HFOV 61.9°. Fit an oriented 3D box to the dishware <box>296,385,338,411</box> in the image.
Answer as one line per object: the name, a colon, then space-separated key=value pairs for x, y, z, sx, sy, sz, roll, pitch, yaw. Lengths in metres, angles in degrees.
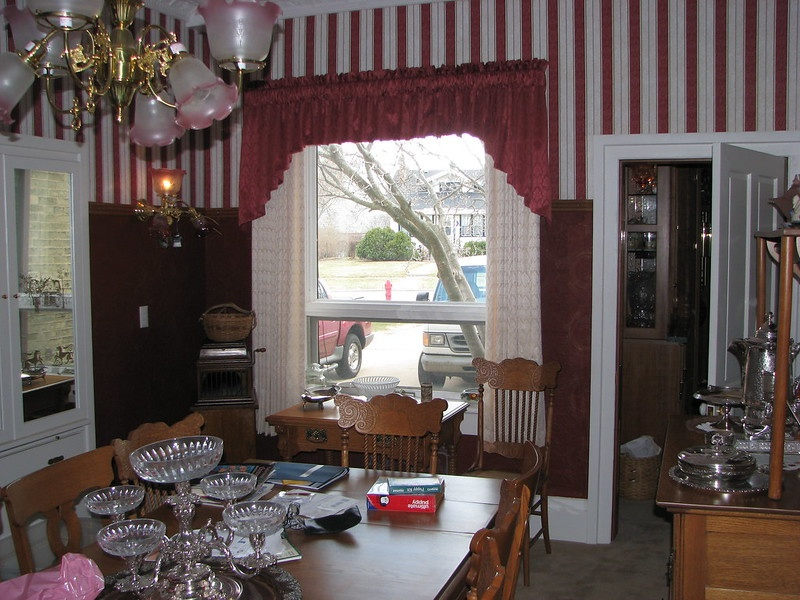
dishware: x=-0.545 y=0.626 z=4.561 sx=0.193 sy=0.104 sz=0.303 roll=-1 pitch=1 yaw=6

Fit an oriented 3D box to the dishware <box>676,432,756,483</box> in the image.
dishware: x=1.289 y=0.631 z=2.775 sx=0.182 sy=0.138 sz=0.218 roll=-1 pitch=-3 yaw=-12

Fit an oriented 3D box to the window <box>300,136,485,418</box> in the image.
window: x=0.003 y=-0.208 z=4.814 sx=1.769 sy=2.508 sz=0.124 roll=2 pitch=9 yaw=22

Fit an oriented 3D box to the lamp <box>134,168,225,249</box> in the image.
lamp: x=-1.604 y=-0.657 z=4.850 sx=0.367 sy=0.555 sz=0.596 roll=0 pitch=8 yaw=5

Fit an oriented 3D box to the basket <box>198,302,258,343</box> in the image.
basket: x=-1.224 y=0.170 z=4.730 sx=0.317 sy=0.230 sz=0.323 roll=-2 pitch=7 yaw=-22

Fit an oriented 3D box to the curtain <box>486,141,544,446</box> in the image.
curtain: x=0.768 y=-0.190 z=4.476 sx=0.400 sy=2.050 sz=0.141 roll=9 pitch=44 yaw=20

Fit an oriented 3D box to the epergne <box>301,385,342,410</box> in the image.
epergne: x=-0.538 y=0.650 z=4.557 sx=0.201 sy=0.105 sz=0.301 roll=-1 pitch=2 yaw=9

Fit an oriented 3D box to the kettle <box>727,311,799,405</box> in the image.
kettle: x=1.537 y=0.263 z=2.762 sx=0.202 sy=0.378 sz=0.549 roll=1 pitch=8 yaw=10

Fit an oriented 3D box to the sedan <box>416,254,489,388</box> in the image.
sedan: x=0.619 y=0.172 z=5.591 sx=0.853 sy=1.026 sz=1.595 roll=-1 pitch=3 yaw=9
